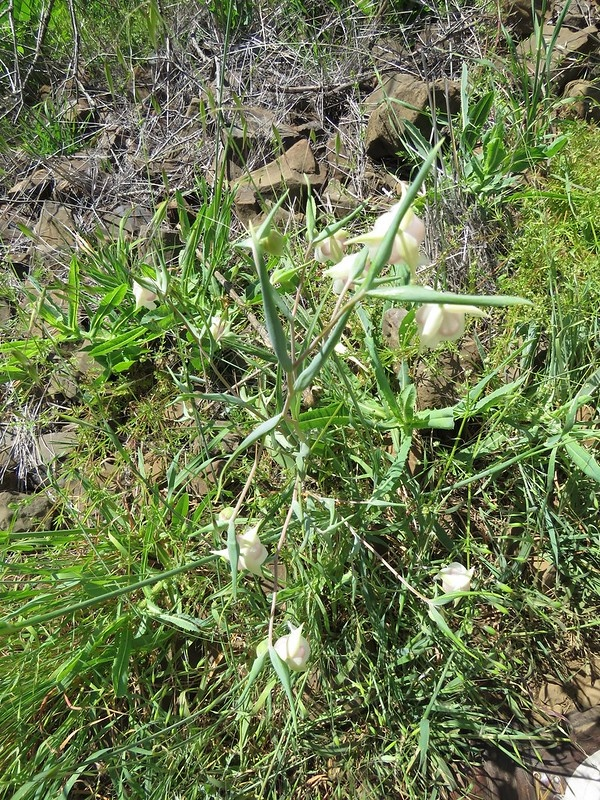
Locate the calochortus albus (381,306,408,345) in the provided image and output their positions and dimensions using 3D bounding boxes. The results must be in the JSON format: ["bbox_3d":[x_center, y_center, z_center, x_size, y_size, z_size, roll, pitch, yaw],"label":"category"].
[{"bbox_3d":[0.193,-0.155,1.351,0.024,0.063,0.075,-2,87,-39],"label":"calochortus albus"}]

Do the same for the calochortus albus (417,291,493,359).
[{"bbox_3d":[0.198,-0.091,0.830,0.069,0.059,0.061,-6,107,-15],"label":"calochortus albus"}]

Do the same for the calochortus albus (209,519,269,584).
[{"bbox_3d":[-0.085,0.223,0.935,0.080,0.072,0.026,-5,41,14],"label":"calochortus albus"}]

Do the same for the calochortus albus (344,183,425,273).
[{"bbox_3d":[0.115,-0.198,0.792,0.112,0.039,0.100,4,73,5],"label":"calochortus albus"}]
